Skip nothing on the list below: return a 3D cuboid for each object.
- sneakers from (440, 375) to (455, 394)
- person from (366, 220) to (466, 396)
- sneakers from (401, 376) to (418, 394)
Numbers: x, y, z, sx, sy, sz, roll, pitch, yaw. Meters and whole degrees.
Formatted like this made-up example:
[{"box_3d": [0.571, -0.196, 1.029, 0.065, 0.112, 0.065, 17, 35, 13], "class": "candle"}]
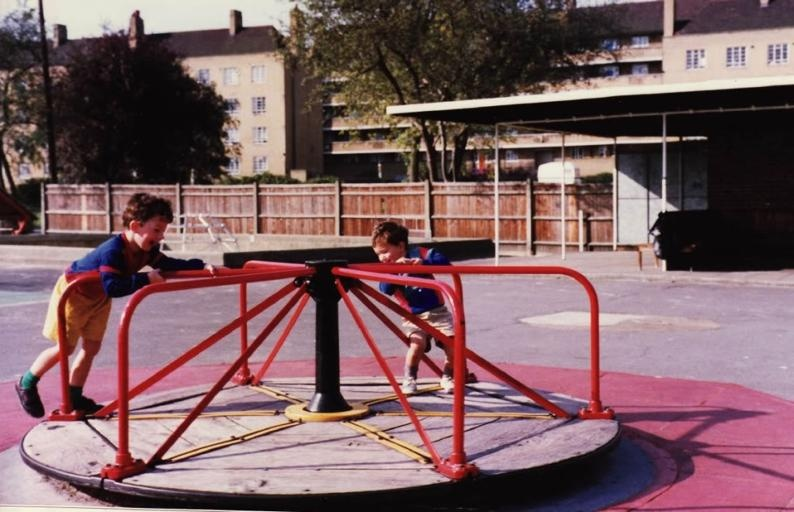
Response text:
[{"box_3d": [0.856, 2.122, 18.521, 0.163, 0.137, 0.333, 2, 5, -25], "class": "sneakers"}, {"box_3d": [0.285, 0.827, 18.448, 1.289, 2.834, 1.115, 0, 3, -2], "class": "person"}, {"box_3d": [0.231, 2.115, 18.514, 0.281, 0.302, 0.313, 0, 2, -4], "class": "sneakers"}]
